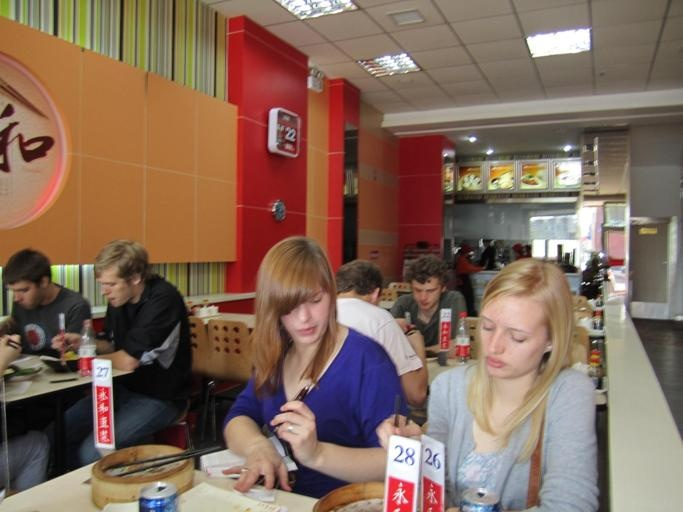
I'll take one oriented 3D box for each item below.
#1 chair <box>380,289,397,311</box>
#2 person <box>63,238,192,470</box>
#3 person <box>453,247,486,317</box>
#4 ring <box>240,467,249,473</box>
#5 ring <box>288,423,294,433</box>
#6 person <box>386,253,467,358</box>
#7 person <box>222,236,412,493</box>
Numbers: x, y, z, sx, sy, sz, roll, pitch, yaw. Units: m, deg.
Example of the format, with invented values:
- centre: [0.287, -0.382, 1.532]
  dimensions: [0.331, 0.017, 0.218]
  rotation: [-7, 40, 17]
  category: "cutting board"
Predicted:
- centre: [0.611, 0.545, 6.650]
  dimensions: [0.162, 0.229, 0.230]
  rotation: [-2, -1, 30]
  category: "chair"
- centre: [-1.243, 0.592, 3.113]
  dimensions: [0.647, 1.344, 0.608]
  rotation: [7, 5, 38]
  category: "person"
- centre: [2.363, 0.413, 9.654]
  dimensions: [0.498, 1.502, 0.462]
  rotation: [-13, 26, -6]
  category: "person"
- centre: [-0.323, 0.706, 1.724]
  dimensions: [0.017, 0.017, 0.017]
  rotation: [1, 1, 0]
  category: "ring"
- centre: [-0.165, 0.553, 1.673]
  dimensions: [0.019, 0.025, 0.005]
  rotation: [-1, 1, -4]
  category: "ring"
- centre: [0.654, 0.307, 3.795]
  dimensions: [0.671, 0.948, 0.578]
  rotation: [0, -1, 22]
  category: "person"
- centre: [-0.090, 0.448, 1.905]
  dimensions: [0.575, 1.117, 0.515]
  rotation: [4, 4, -28]
  category: "person"
